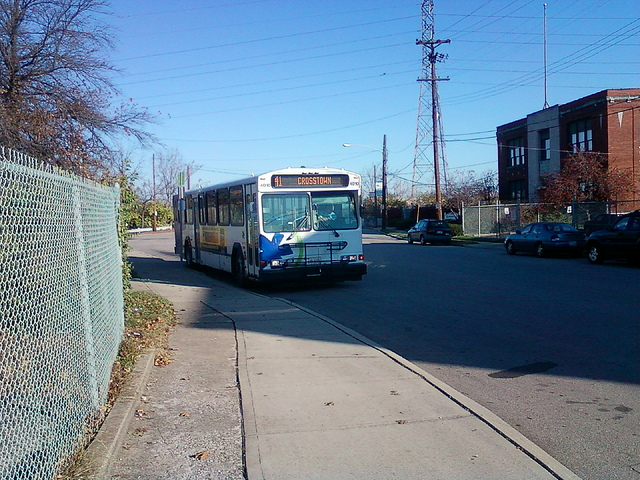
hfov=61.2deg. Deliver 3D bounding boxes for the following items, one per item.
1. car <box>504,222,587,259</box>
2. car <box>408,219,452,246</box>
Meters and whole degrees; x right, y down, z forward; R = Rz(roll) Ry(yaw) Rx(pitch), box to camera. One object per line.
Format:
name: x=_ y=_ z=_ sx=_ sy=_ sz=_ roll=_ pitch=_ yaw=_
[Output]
car: x=10.429 y=0.001 z=25.200 sx=1.178 sy=1.569 sz=3.334 roll=-2 pitch=4 yaw=-25
car: x=7.381 y=-0.461 z=36.429 sx=1.259 sy=1.670 sz=3.153 roll=-2 pitch=4 yaw=-24
